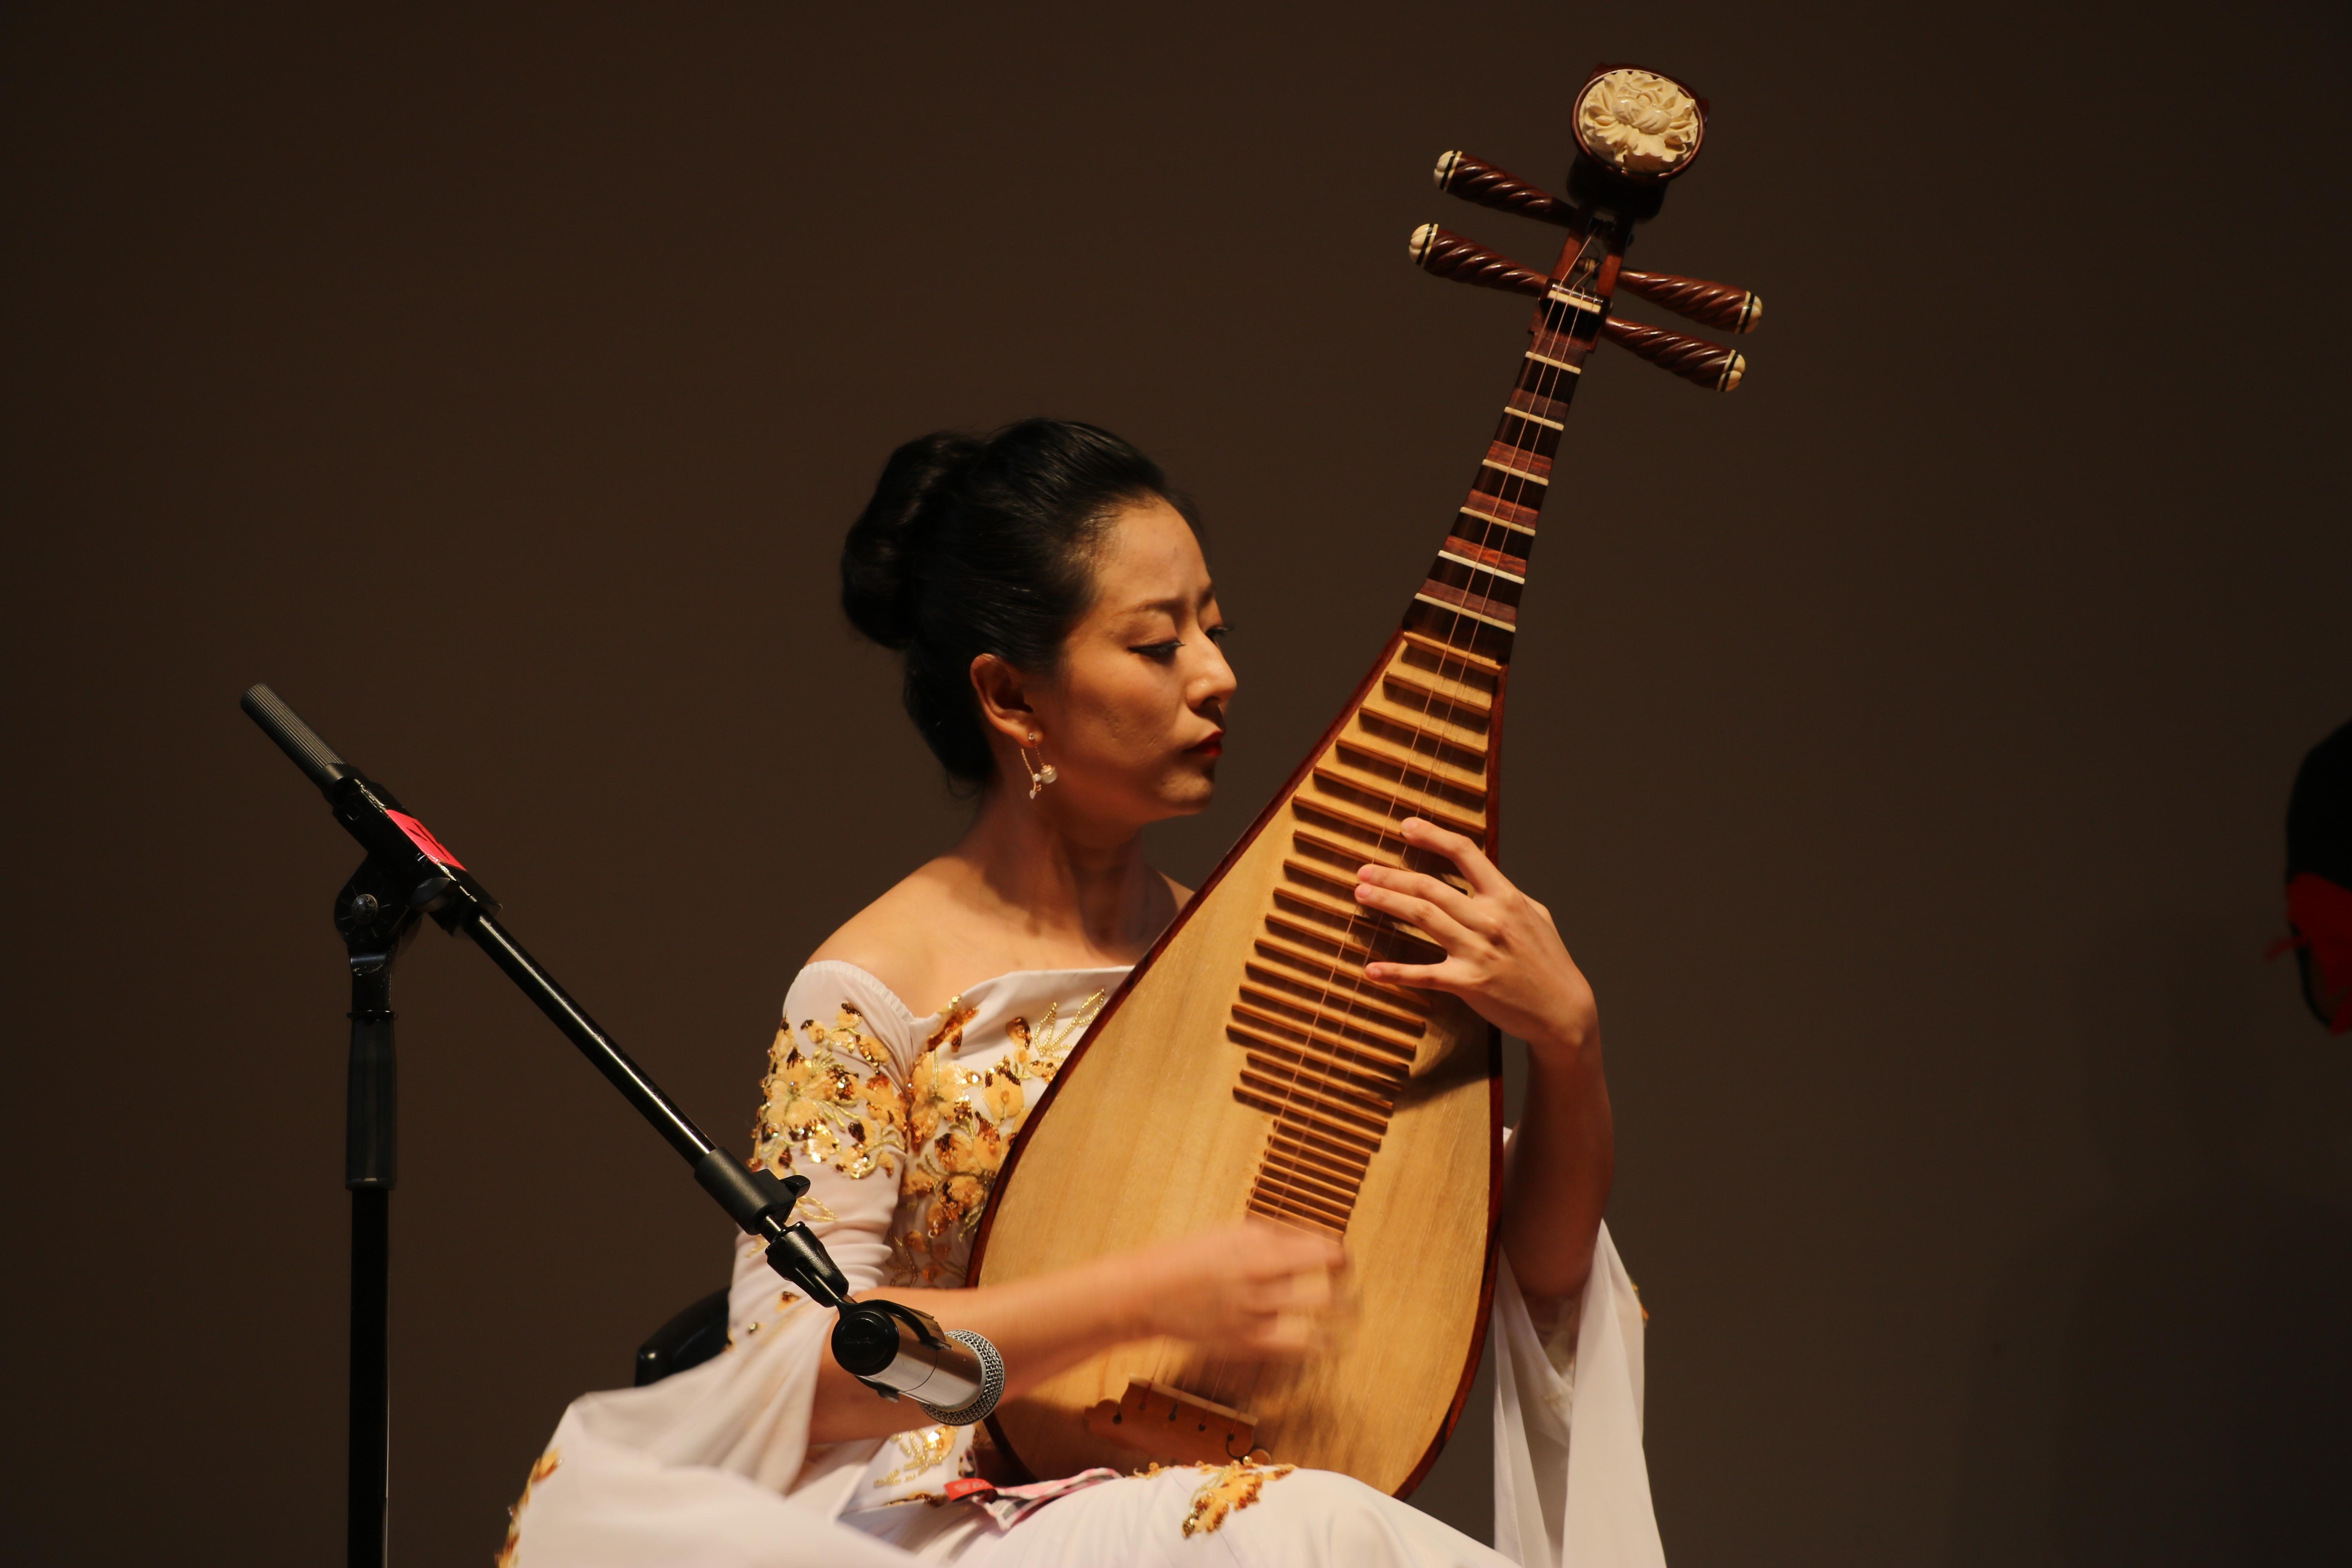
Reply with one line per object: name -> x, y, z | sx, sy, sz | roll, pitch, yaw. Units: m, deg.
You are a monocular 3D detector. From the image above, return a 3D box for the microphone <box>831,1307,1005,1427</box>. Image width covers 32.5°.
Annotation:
microphone -> -0.301, 0.659, 4.712 | 0.230, 0.088, 0.086 | 35, -44, -29

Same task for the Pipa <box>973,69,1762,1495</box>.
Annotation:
Pipa -> 0.249, 0.115, 5.098 | 0.708, 2.136, 0.236 | 20, -2, 4

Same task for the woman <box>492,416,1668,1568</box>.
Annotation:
woman -> -0.212, 0.371, 5.090 | 1.154, 1.662, 0.429 | 6, -10, -14

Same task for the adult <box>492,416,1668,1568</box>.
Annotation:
adult -> -0.208, 0.361, 5.090 | 1.154, 1.662, 0.429 | 6, -10, -14
